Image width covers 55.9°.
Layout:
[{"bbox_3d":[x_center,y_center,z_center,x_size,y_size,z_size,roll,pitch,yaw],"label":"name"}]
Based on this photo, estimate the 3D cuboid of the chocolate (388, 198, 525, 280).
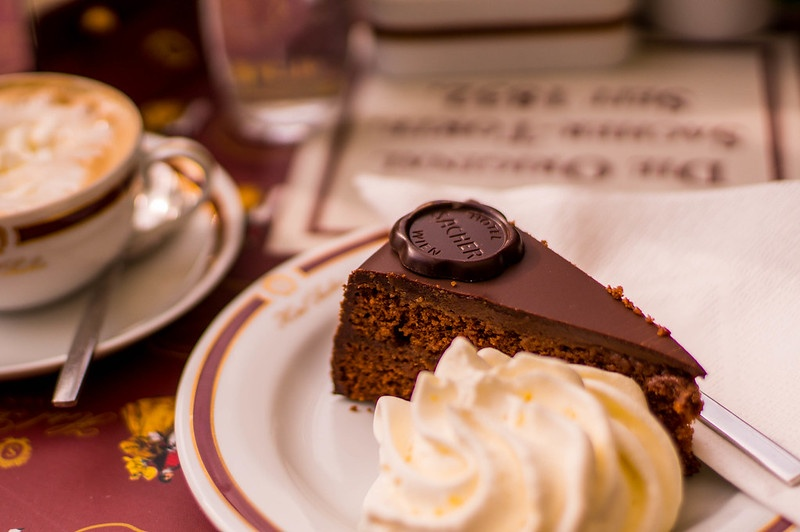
[{"bbox_3d":[0.123,-0.056,1.720,0.211,0.038,0.210,20,45,25],"label":"chocolate"}]
